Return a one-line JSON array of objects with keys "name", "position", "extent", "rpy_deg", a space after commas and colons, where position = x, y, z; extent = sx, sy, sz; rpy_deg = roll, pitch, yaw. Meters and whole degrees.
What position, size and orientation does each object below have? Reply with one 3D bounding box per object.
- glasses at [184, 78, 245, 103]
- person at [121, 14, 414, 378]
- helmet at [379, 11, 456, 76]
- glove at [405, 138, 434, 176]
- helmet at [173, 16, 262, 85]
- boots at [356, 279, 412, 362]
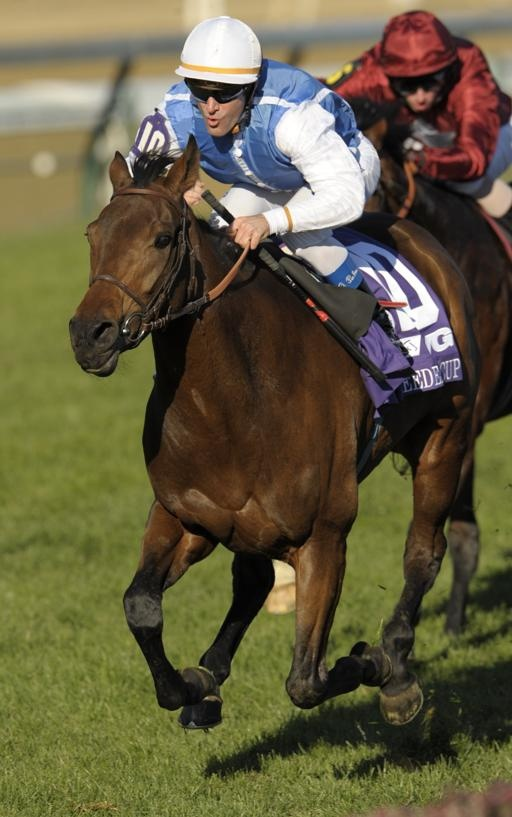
[{"name": "glasses", "position": [-0.091, -0.732, 2.054], "extent": [0.134, 0.052, 0.054], "rpy_deg": [2, 6, 0]}, {"name": "person", "position": [-0.033, -0.544, 2.372], "extent": [0.654, 0.923, 0.565], "rpy_deg": [-1, 37, 11]}, {"name": "helmet", "position": [0.641, -1.498, 3.578], "extent": [0.332, 0.191, 0.426], "rpy_deg": [-7, 36, 12]}, {"name": "glove", "position": [0.640, -1.014, 3.514], "extent": [0.051, 0.184, 0.110], "rpy_deg": [-31, -33, 32]}, {"name": "helmet", "position": [-0.079, -0.847, 2.099], "extent": [0.191, 0.196, 0.189], "rpy_deg": [2, 6, -1]}, {"name": "boots", "position": [0.362, -0.254, 2.532], "extent": [0.061, 0.242, 0.135], "rpy_deg": [-54, 25, -6]}]
